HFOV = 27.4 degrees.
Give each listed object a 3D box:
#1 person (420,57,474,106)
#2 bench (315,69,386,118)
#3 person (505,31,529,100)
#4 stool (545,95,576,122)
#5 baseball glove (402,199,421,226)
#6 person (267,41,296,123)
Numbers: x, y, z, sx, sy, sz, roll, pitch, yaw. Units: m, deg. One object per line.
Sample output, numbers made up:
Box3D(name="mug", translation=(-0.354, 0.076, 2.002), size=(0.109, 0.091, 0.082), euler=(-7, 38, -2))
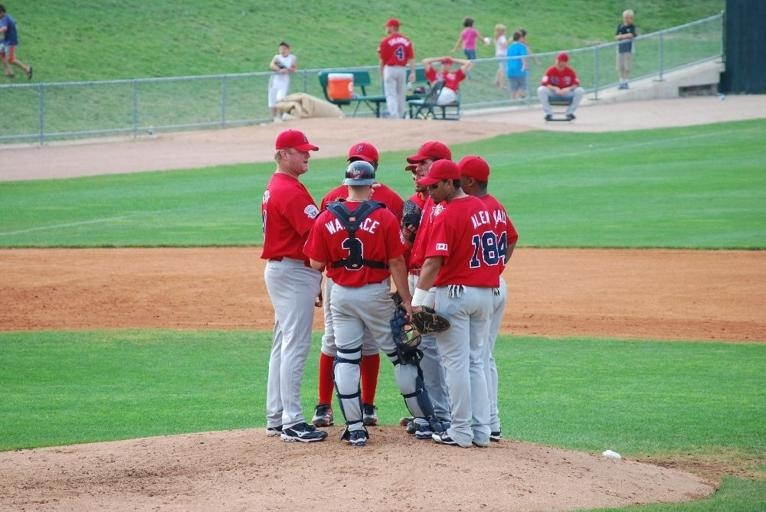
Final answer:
Box3D(name="person", translation=(1.952, -5.206, 46.942), size=(1.198, 1.424, 1.819), euler=(0, 5, 12))
Box3D(name="bench", translation=(-0.896, -4.924, 47.884), size=(1.960, 1.449, 3.502), euler=(-1, 5, 0))
Box3D(name="person", translation=(4.143, -5.879, 48.167), size=(0.708, 2.104, 1.198), euler=(-1, 6, 4))
Box3D(name="stool", translation=(5.261, -4.400, 46.608), size=(0.863, 0.781, 0.780), euler=(0, -17, 2))
Box3D(name="baseball glove", translation=(0.619, -0.896, 32.709), size=(0.424, 0.473, 0.207), euler=(5, -9, 7))
Box3D(name="person", translation=(-3.014, -5.278, 47.124), size=(1.067, 2.174, 0.798), euler=(0, -2, 1))
